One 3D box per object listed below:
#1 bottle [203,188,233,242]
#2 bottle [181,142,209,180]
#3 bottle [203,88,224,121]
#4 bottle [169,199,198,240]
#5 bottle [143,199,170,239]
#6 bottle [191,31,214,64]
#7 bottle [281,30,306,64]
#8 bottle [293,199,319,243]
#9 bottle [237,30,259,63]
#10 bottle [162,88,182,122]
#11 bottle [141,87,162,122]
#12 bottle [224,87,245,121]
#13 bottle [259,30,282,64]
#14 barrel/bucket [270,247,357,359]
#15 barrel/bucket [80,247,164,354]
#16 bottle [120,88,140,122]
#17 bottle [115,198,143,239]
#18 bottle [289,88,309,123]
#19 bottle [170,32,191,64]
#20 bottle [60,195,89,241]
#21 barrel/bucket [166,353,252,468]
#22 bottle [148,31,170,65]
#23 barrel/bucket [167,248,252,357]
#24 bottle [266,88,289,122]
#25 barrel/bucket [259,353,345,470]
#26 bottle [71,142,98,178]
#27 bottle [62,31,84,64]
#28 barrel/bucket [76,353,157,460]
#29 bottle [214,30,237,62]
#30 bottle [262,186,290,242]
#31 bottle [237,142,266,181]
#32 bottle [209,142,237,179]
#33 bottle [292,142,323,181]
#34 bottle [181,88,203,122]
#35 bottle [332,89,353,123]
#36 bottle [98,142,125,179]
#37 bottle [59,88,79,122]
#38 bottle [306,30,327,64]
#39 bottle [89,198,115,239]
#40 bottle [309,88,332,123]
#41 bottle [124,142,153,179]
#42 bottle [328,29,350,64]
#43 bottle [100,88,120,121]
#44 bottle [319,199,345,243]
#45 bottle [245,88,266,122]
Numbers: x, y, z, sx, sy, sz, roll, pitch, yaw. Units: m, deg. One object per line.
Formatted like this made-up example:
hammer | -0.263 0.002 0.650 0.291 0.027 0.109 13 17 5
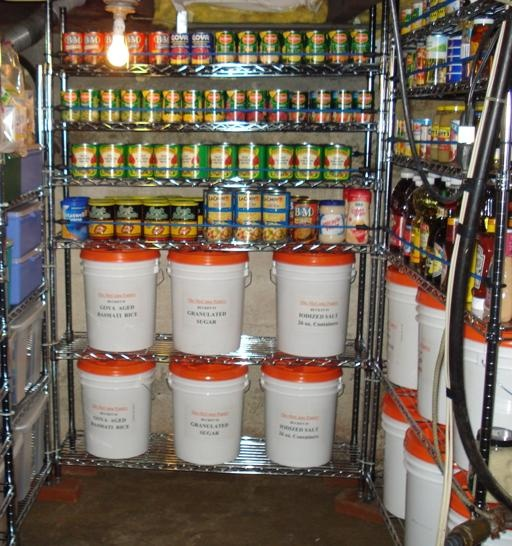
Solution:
bottle | -0.134 -0.201 2.002 0.096 0.188 0.050 1 12 -4
bottle | -0.214 -0.397 1.998 0.128 0.126 0.120 0 5 -2
bottle | -0.149 -0.592 2.008 0.074 0.118 0.095 1 11 -5
bottle | -0.267 -0.188 2.069 0.127 0.126 0.126 -3 9 -24
bottle | -0.364 -0.191 2.061 0.103 0.149 0.098 2 11 0
bottle | -0.186 -0.767 1.928 0.071 0.110 0.054 1 11 -6
bottle | 0.121 -0.766 1.929 0.111 0.113 0.103 0 15 2
bottle | 0.175 -0.190 2.034 0.093 0.154 0.105 3 11 6
bottle | -0.032 -0.765 1.920 0.075 0.112 0.062 3 11 5
bottle | -0.301 -0.593 2.028 0.071 0.119 0.129 1 11 -8
bottle | -0.369 -0.592 2.007 0.068 0.119 0.086 0 11 -10
bottle | -0.076 -0.591 1.998 0.077 0.112 0.068 2 11 0
bottle | 0.044 -0.763 1.918 0.075 0.115 0.064 2 11 0
barrel/bucket | 0.192 0.103 2.149 0.352 0.362 0.352 -4 5 0
barrel/bucket | -0.512 0.083 2.176 0.335 0.343 0.330 0 4 0
bottle | -0.455 -0.599 2.053 0.074 0.119 0.189 -1 10 -13
bottle | -0.459 -0.191 2.042 0.094 0.143 0.051 0 12 -13
bottle | 0.146 -0.584 1.995 0.068 0.121 0.091 3 11 4
bottle | -0.259 -0.765 1.932 0.069 0.113 0.051 0 12 -8
bottle | -0.661 -0.202 2.072 0.099 0.154 0.095 7 22 -3
barrel/bucket | -0.187 0.505 2.236 0.441 0.388 0.385 2 4 -3
bottle | -0.332 -0.769 1.933 0.074 0.112 0.055 1 11 -6
barrel/bucket | -0.177 0.111 2.127 0.384 0.382 0.369 1 4 0
bottle | 0.075 -0.585 1.990 0.074 0.120 0.062 2 11 1
barrel/bucket | 0.106 0.522 2.266 0.439 0.388 0.389 1 2 4
bottle | -0.614 -0.402 2.030 0.101 0.126 0.050 2 12 -1
bottle | -0.642 -0.785 1.974 0.092 0.110 0.036 6 12 19
barrel/bucket | -0.546 0.533 2.242 0.351 0.349 0.334 0 -7 0
bottle | -0.105 -0.771 1.929 0.078 0.110 0.075 2 11 0
bottle | 0.065 -0.202 2.010 0.094 0.190 0.064 2 12 -1
bottle | -0.019 -0.393 1.997 0.129 0.122 0.120 0 14 0
bottle | -0.120 -0.398 2.005 0.128 0.128 0.124 -5 8 -26
bottle | 0.184 -0.393 2.033 0.124 0.118 0.097 4 13 19
bottle | -0.228 -0.595 2.038 0.071 0.121 0.151 1 10 -6
bottle | 0.303 -0.588 2.015 0.070 0.123 0.104 4 11 8
bottle | -0.534 -0.411 2.058 0.116 0.117 0.110 -2 15 -21
bottle | -0.670 -0.610 2.049 0.062 0.132 0.136 -2 11 -18
bottle | 0.200 -0.769 1.929 0.078 0.117 0.065 3 11 4
bottle | -0.563 -0.195 2.070 0.106 0.154 0.103 3 9 0
bottle | 0.230 -0.591 2.009 0.122 0.122 0.114 3 13 14
bottle | -0.408 -0.409 2.067 0.154 0.131 0.148 -4 12 -22
bottle | 0.278 -0.769 1.927 0.079 0.115 0.061 3 11 6
bottle | -0.528 -0.599 2.046 0.068 0.120 0.159 -1 11 -13
bottle | 0.274 -0.180 2.066 0.108 0.152 0.099 1 6 0
bottle | -0.001 -0.593 1.994 0.068 0.105 0.054 2 11 0
